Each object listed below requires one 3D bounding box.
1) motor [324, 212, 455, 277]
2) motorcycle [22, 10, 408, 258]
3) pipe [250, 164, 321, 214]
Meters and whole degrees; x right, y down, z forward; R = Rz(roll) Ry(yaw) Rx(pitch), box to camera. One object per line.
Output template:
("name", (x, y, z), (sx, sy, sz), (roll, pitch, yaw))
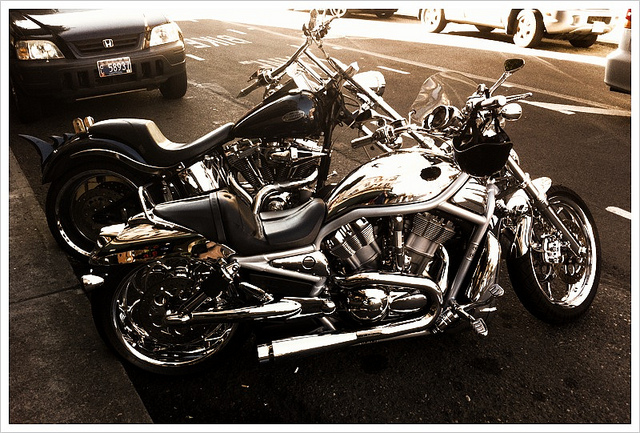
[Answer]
("motor", (0.461, 0.181, 3.018), (0.858, 0.410, 0.222), (-1, 32, -8))
("motorcycle", (-0.560, -0.484, 4.103), (3.806, 1.879, 1.608), (-2, 4, -4))
("pipe", (-0.284, -0.227, 3.569), (0.131, 0.248, 0.635), (-3, 35, 45))
